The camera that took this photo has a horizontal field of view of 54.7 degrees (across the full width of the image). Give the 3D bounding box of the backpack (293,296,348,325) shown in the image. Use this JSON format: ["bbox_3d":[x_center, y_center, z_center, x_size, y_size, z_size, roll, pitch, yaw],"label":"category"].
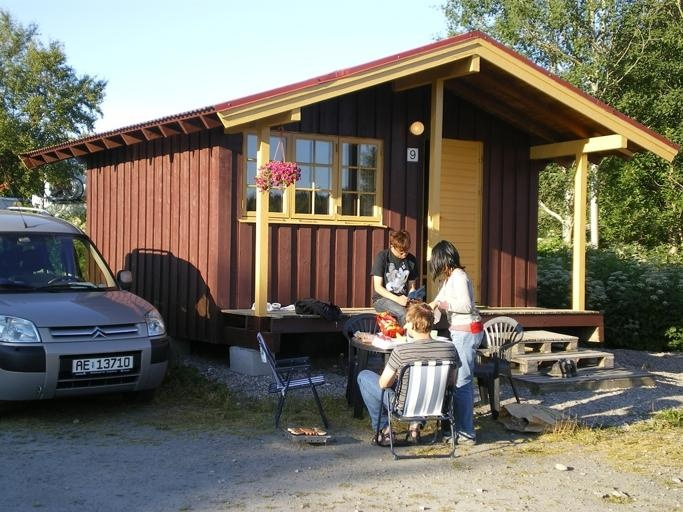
[{"bbox_3d":[-0.339,0.854,10.297,0.791,0.361,0.384,0,-2,-2],"label":"backpack"}]

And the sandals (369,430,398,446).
[{"bbox_3d":[0.439,1.934,7.084,0.314,0.168,0.161,2,-2,6],"label":"sandals"}]

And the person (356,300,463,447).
[{"bbox_3d":[0.758,1.326,7.246,1.048,1.723,1.178,-6,12,-34],"label":"person"}]

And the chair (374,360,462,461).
[{"bbox_3d":[0.807,1.583,7.032,0.827,1.017,0.869,0,-2,10],"label":"chair"}]

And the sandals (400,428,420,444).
[{"bbox_3d":[0.762,1.979,7.282,0.101,0.135,0.307,1,-1,-8],"label":"sandals"}]

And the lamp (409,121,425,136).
[{"bbox_3d":[1.377,-2.338,12.137,0.239,0.182,0.244,3,2,-24],"label":"lamp"}]

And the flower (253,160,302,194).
[{"bbox_3d":[-0.979,-1.206,10.133,0.401,0.473,0.658,-2,-3,36],"label":"flower"}]

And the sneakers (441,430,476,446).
[{"bbox_3d":[1.291,2.008,7.326,0.378,0.181,0.148,-1,-1,10],"label":"sneakers"}]
